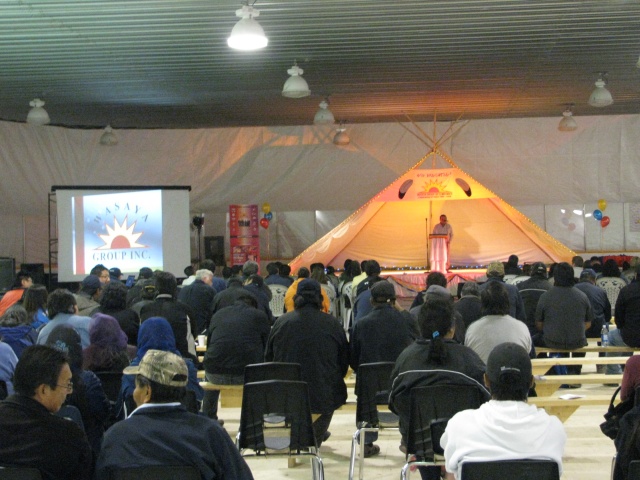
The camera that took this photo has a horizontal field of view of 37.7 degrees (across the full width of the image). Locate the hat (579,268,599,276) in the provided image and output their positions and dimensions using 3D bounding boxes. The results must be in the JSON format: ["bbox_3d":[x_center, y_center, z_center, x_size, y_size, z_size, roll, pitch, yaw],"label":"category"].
[{"bbox_3d":[3.646,0.453,12.732,0.240,0.120,0.326,-2,-6,26],"label":"hat"}]

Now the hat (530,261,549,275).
[{"bbox_3d":[2.944,0.395,12.534,0.164,0.196,0.209,1,-10,7],"label":"hat"}]

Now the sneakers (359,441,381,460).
[{"bbox_3d":[0.540,2.239,9.966,0.088,0.100,0.264,1,1,21],"label":"sneakers"}]

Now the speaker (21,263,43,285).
[{"bbox_3d":[-5.008,0.617,16.313,0.420,0.398,0.300,1,-6,-11],"label":"speaker"}]

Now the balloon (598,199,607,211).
[{"bbox_3d":[6.170,-0.752,20.508,0.202,0.267,0.223,-10,21,6],"label":"balloon"}]

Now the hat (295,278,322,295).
[{"bbox_3d":[-0.120,0.487,9.840,0.236,0.157,0.185,-1,-5,-2],"label":"hat"}]

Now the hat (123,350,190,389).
[{"bbox_3d":[-1.388,1.097,7.986,0.468,0.181,0.259,6,7,13],"label":"hat"}]

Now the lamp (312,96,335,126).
[{"bbox_3d":[0.155,-2.241,16.243,0.524,0.488,0.501,1,-3,-13],"label":"lamp"}]

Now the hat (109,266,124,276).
[{"bbox_3d":[-2.974,0.473,13.578,0.150,0.195,0.208,1,-7,5],"label":"hat"}]

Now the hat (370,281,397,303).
[{"bbox_3d":[0.658,0.544,9.774,0.250,0.250,0.187,-1,-5,1],"label":"hat"}]

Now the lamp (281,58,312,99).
[{"bbox_3d":[-0.373,-2.415,14.204,0.580,0.577,0.557,-1,-4,-1],"label":"lamp"}]

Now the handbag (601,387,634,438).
[{"bbox_3d":[2.732,1.568,8.518,0.331,0.460,0.219,-3,-21,39],"label":"handbag"}]

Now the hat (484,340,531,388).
[{"bbox_3d":[1.618,1.041,7.989,0.303,0.220,0.432,3,14,12],"label":"hat"}]

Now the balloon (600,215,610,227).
[{"bbox_3d":[6.191,-0.389,20.409,0.170,0.223,0.178,17,3,-1],"label":"balloon"}]

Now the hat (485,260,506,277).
[{"bbox_3d":[2.222,0.380,11.911,0.180,0.206,0.234,3,13,12],"label":"hat"}]
